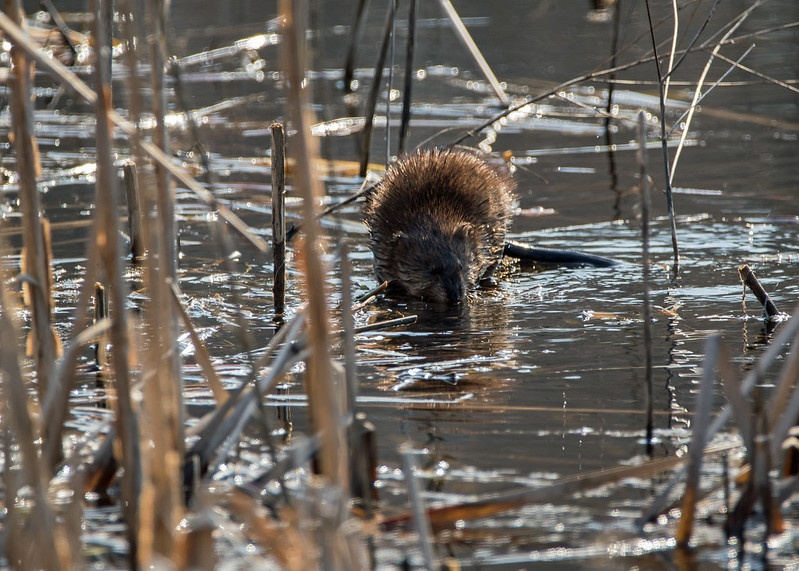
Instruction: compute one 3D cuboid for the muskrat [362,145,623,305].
[{"bbox_3d":[0.393,-0.483,8.609,0.906,0.711,2.283,-3,20,5],"label":"muskrat"}]
